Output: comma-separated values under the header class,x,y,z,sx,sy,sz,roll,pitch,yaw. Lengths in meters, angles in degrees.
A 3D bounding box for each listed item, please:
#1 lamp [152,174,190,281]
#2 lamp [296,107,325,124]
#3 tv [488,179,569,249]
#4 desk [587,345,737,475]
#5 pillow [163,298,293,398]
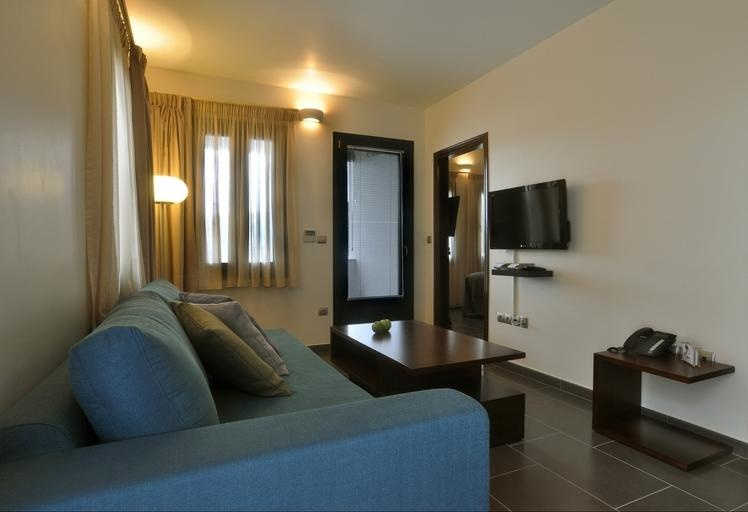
class,x,y,z,sx,sy,sz,roll,pitch,yaw
lamp,-1.898,-0.373,5.092,0.298,0.773,0.529,-3,6,-20
lamp,-0.680,-1.541,5.922,0.304,0.140,0.197,-2,6,-17
tv,1.404,-0.367,4.828,0.067,0.479,0.643,-2,0,-33
desk,1.959,0.999,3.727,0.656,0.623,0.720,-5,7,-29
pillow,-0.842,0.552,3.444,0.523,0.576,0.888,-8,7,-27
